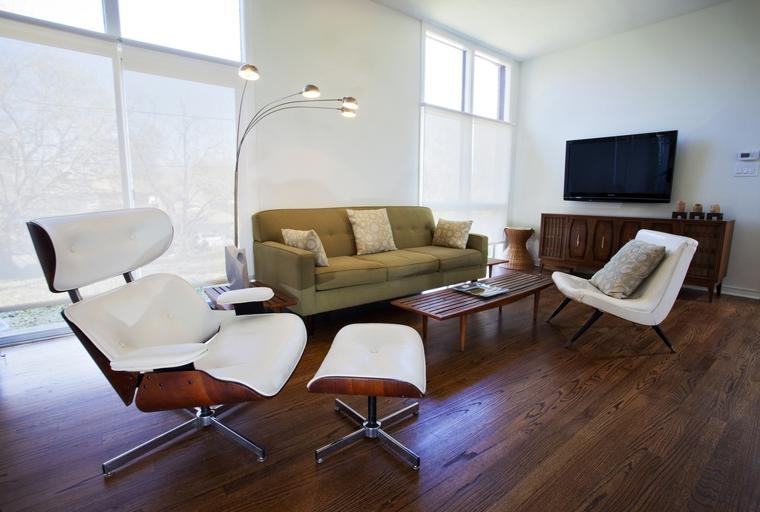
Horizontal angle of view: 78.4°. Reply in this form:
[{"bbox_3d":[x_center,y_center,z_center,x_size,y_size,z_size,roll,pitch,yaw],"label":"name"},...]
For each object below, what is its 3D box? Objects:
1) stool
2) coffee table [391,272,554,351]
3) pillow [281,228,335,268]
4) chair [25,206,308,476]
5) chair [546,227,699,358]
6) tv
[{"bbox_3d":[-0.043,0.928,3.178,0.827,0.672,0.885,4,14,17],"label":"stool"},{"bbox_3d":[0.892,0.523,4.339,1.535,0.447,0.536,-10,15,-35],"label":"coffee table"},{"bbox_3d":[-0.695,-0.133,4.512,0.602,0.482,0.319,12,7,44],"label":"pillow"},{"bbox_3d":[-1.251,0.481,3.075,1.435,1.469,1.283,4,14,7],"label":"chair"},{"bbox_3d":[2.080,0.334,4.592,1.227,1.354,1.057,1,6,5],"label":"chair"},{"bbox_3d":[3.167,-1.151,5.993,0.112,0.708,1.056,-10,14,-42],"label":"tv"}]
